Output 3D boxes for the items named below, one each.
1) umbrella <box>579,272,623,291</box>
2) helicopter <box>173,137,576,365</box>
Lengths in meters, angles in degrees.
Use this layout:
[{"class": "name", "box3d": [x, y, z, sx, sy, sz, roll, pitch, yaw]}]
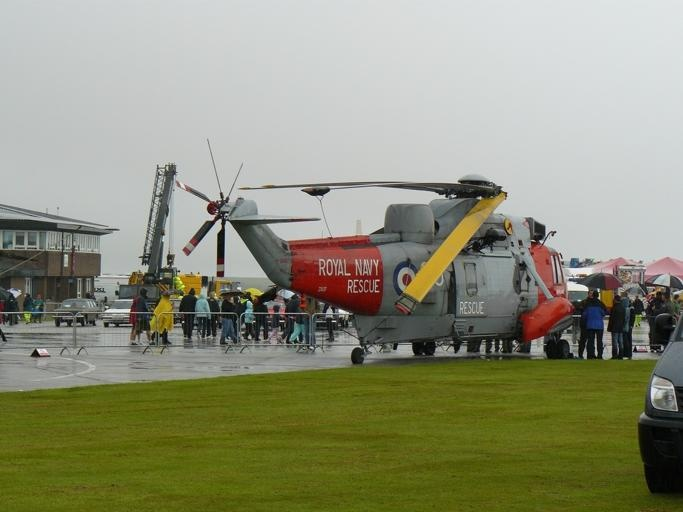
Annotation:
[{"class": "umbrella", "box3d": [11.463, 1.132, 45.760, 1.674, 0.596, 1.460, 0, 1, 0]}, {"class": "helicopter", "box3d": [1.994, 0.359, 25.816, 7.539, 2.509, 6.004, 0, 4, -43]}]
